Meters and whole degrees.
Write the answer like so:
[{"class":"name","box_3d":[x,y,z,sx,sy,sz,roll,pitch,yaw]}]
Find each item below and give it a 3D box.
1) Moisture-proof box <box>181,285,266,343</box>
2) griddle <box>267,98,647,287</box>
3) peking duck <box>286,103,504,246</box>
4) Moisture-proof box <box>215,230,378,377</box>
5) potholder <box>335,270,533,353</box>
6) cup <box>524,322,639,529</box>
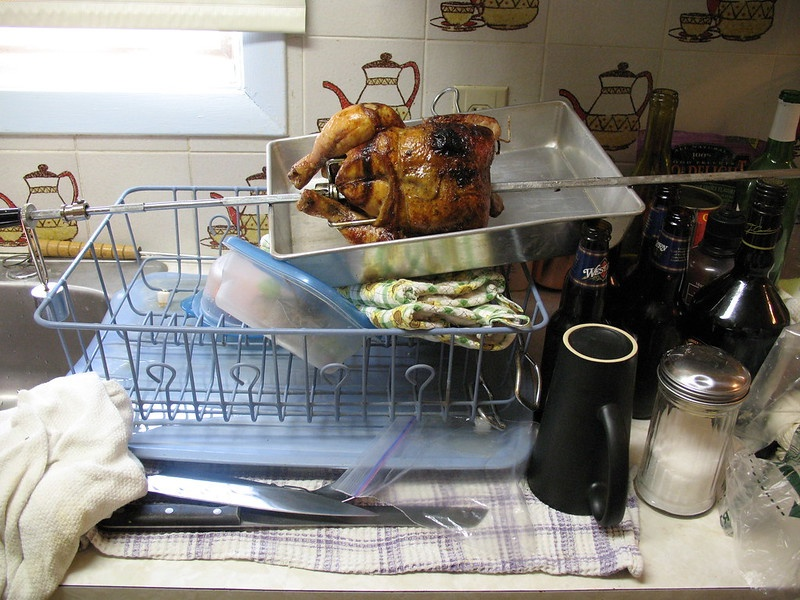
[{"class":"Moisture-proof box","box_3d":[-0.270,0.022,0.922,0.095,0.031,0.103,3,30,-21]},{"class":"griddle","box_3d":[0.070,-0.101,0.864,0.497,0.081,0.308,-6,46,-6]},{"class":"peking duck","box_3d":[0.005,-0.174,0.873,0.301,0.214,0.097,-9,-10,-7]},{"class":"Moisture-proof box","box_3d":[-0.127,0.010,0.834,0.076,0.209,0.151,-57,18,-10]},{"class":"potholder","box_3d":[0.060,0.005,0.796,0.155,0.037,0.126,-5,25,-14]},{"class":"cup","box_3d":[0.230,0.157,0.775,0.126,0.221,0.166,11,31,22]}]
